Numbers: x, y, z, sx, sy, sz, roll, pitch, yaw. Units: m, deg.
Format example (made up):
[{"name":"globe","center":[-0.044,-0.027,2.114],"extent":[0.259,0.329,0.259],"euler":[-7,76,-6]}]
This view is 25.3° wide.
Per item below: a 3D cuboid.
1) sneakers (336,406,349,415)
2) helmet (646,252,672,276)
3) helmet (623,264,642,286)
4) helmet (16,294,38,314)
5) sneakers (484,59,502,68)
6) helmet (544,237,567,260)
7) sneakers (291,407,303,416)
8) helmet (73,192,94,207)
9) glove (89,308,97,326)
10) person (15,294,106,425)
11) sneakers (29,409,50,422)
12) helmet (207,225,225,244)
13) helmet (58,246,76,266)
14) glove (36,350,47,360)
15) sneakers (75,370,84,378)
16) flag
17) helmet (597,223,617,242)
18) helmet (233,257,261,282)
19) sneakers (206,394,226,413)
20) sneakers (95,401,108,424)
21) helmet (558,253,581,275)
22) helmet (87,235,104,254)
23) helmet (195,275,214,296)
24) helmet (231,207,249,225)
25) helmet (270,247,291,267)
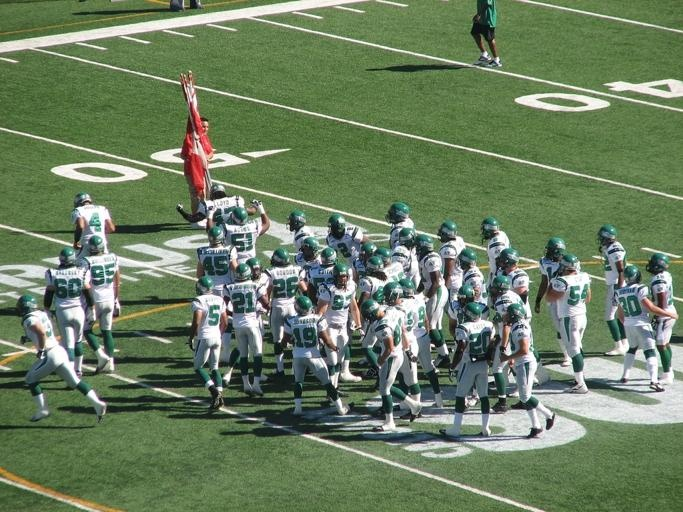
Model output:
[{"name":"sneakers","center":[0.012,2.775,27.264],"extent":[0.173,0.120,0.148],"euler":[18,-29,-31]},{"name":"helmet","center":[5.936,0.135,28.382],"extent":[0.454,0.380,0.361],"euler":[14,9,30]},{"name":"helmet","center":[5.454,0.337,28.263],"extent":[0.422,0.373,0.324],"euler":[-8,17,-39]},{"name":"helmet","center":[-5.612,0.843,27.076],"extent":[0.312,0.341,0.375],"euler":[-2,9,-42]},{"name":"sneakers","center":[4.459,-5.619,44.309],"extent":[0.481,0.195,0.165],"euler":[5,21,8]},{"name":"helmet","center":[4.017,-0.162,28.921],"extent":[0.362,0.406,0.440],"euler":[31,-19,-19]},{"name":"sneakers","center":[-0.796,2.741,27.291],"extent":[0.195,0.165,0.242],"euler":[2,10,-1]},{"name":"helmet","center":[-5.263,-1.158,30.858],"extent":[0.341,0.346,0.376],"euler":[-2,18,-30]},{"name":"glove","center":[-4.693,1.102,28.474],"extent":[0.103,0.247,0.195],"euler":[-1,-6,11]},{"name":"person","center":[-5.078,1.809,26.934],"extent":[1.590,2.165,0.626],"euler":[3,11,4]},{"name":"sneakers","center":[-5.386,2.821,26.946],"extent":[0.344,0.145,0.154],"euler":[-20,-36,39]},{"name":"helmet","center":[-2.426,-0.434,29.378],"extent":[0.300,0.327,0.351],"euler":[2,46,-1]},{"name":"helmet","center":[-5.088,-0.018,28.192],"extent":[0.297,0.350,0.370],"euler":[-2,23,-18]},{"name":"glove","center":[-5.318,1.722,26.765],"extent":[0.182,0.165,0.063],"euler":[6,12,19]},{"name":"sneakers","center":[-4.892,2.171,28.196],"extent":[0.121,0.076,0.159],"euler":[4,7,-13]},{"name":"flag","center":[-3.300,-2.674,34.200],"extent":[0.721,2.902,1.394],"euler":[2,11,-5]},{"name":"helmet","center":[5.208,-0.460,29.437],"extent":[0.319,0.321,0.348],"euler":[-10,37,-29]},{"name":"helmet","center":[-1.802,0.253,28.225],"extent":[0.358,0.342,0.454],"euler":[12,35,30]},{"name":"sneakers","center":[-2.269,2.623,27.383],"extent":[0.299,0.288,0.286],"euler":[2,11,-5]},{"name":"sneakers","center":[-4.267,2.752,26.860],"extent":[0.158,0.448,0.179],"euler":[-1,48,-19]},{"name":"helmet","center":[4.277,0.118,28.366],"extent":[0.358,0.374,0.404],"euler":[-4,27,-36]},{"name":"helmet","center":[-4.698,-0.237,28.742],"extent":[0.307,0.341,0.351],"euler":[0,30,-12]},{"name":"helmet","center":[-2.486,0.512,27.756],"extent":[0.291,0.328,0.354],"euler":[-2,15,-30]},{"name":"helmet","center":[-2.047,-0.809,29.883],"extent":[0.312,0.332,0.325],"euler":[4,56,-14]},{"name":"helmet","center":[-1.139,0.011,28.597],"extent":[0.301,0.307,0.372],"euler":[-2,24,-16]}]
